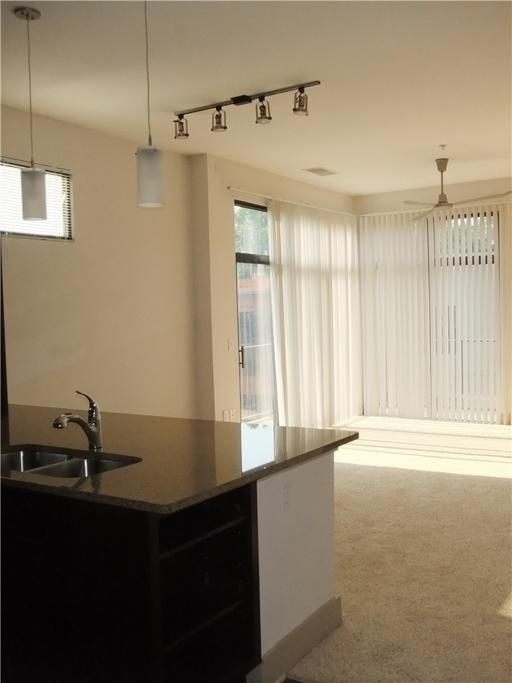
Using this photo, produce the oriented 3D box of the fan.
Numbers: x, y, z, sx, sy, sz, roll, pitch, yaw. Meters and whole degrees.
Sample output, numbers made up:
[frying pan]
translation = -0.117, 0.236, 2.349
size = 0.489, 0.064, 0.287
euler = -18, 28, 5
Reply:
[fan]
translation = 2.166, -1.569, 6.751
size = 0.838, 0.470, 1.011
euler = -3, 6, -35
